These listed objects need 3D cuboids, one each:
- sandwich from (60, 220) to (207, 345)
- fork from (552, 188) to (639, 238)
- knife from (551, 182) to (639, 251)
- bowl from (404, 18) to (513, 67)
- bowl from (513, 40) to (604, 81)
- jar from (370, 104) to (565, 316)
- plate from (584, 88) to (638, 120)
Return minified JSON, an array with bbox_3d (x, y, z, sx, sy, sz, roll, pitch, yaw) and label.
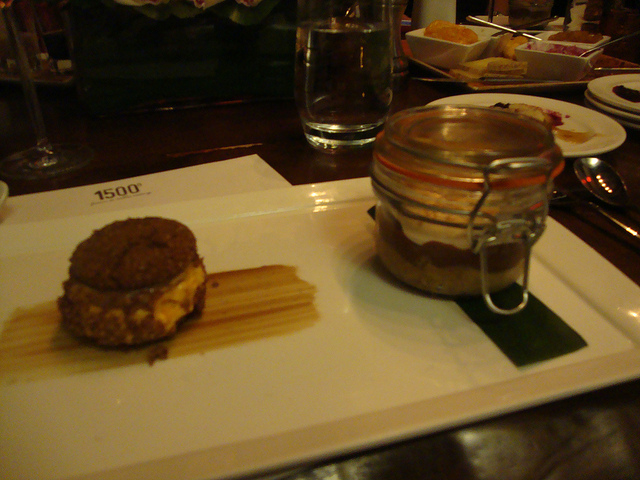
[{"bbox_3d":[-0.246,0.052,0.718,0.179,0.092,0.154,0,36,-3],"label":"sandwich"},{"bbox_3d":[0.446,-0.041,0.871,0.022,0.022,0.145,-6,31,-39],"label":"fork"},{"bbox_3d":[0.440,-0.033,0.858,0.030,0.022,0.147,-33,48,-5],"label":"knife"},{"bbox_3d":[0.383,-0.553,1.490,0.239,0.075,0.221,-1,35,1],"label":"bowl"},{"bbox_3d":[0.615,-0.475,1.402,0.140,0.064,0.182,14,33,28],"label":"bowl"},{"bbox_3d":[0.200,-0.048,0.755,0.259,0.209,0.285,-1,29,6],"label":"jar"},{"bbox_3d":[0.639,-0.297,1.201,0.068,0.074,0.116,18,23,35],"label":"plate"}]
